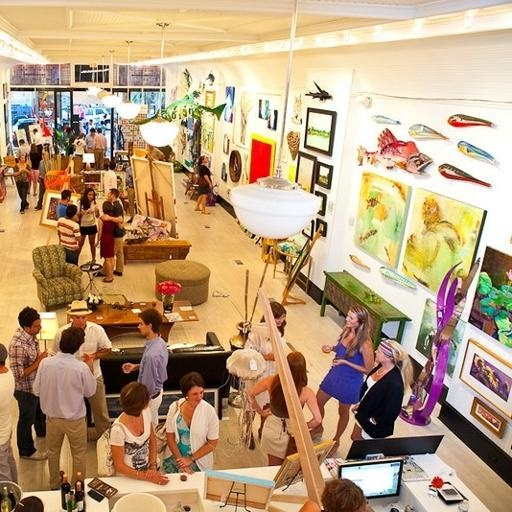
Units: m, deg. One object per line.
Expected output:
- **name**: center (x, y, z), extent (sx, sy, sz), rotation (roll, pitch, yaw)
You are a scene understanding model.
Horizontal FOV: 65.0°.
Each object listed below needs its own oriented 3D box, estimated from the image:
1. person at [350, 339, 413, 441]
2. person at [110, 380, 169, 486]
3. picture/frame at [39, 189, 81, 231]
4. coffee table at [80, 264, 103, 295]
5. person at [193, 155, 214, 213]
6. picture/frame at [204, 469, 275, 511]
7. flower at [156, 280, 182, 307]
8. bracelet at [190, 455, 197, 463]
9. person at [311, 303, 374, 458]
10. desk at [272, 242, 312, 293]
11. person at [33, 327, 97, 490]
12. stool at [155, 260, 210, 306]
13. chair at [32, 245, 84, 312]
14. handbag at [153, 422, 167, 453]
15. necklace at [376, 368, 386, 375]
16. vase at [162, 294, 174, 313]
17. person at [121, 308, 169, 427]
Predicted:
- **person**: center (1.301, 1.428, 4.215), extent (0.388, 1.219, 0.465), rotation (12, 55, -4)
- **person**: center (-0.866, 1.347, 2.904), extent (0.370, 0.814, 0.511), rotation (-3, 14, -22)
- **picture/frame**: center (-4.875, -1.071, 9.469), extent (0.464, 0.804, 0.604), rotation (-2, 14, -17)
- **coffee table**: center (-3.516, 0.538, 8.545), extent (0.309, 0.457, 0.364), rotation (-9, 29, -24)
- **person**: center (-1.976, -2.611, 15.217), extent (0.701, 3.037, 1.009), rotation (-8, 32, -21)
- **picture/frame**: center (-0.089, 1.344, 2.407), extent (0.455, 0.269, 0.479), rotation (8, -28, -1)
- **flower**: center (-1.544, 0.708, 6.899), extent (0.449, 0.564, 0.479), rotation (3, 12, -1)
- **bracelet**: center (-0.497, 1.627, 3.210), extent (0.042, 0.050, 0.014), rotation (11, -6, 36)
- **person**: center (1.015, 1.531, 4.750), extent (0.552, 2.034, 0.559), rotation (18, 23, 28)
- **desk**: center (0.886, 0.132, 9.190), extent (0.795, 1.048, 0.903), rotation (-13, 38, -19)
- **person**: center (-1.660, 1.364, 3.486), extent (0.469, 1.530, 0.266), rotation (3, 12, 2)
- **stool**: center (-1.571, 0.625, 8.621), extent (1.028, 0.739, 1.163), rotation (1, 17, -7)
- **chair**: center (-3.813, 0.434, 7.690), extent (0.806, 1.161, 0.917), rotation (-7, 14, -36)
- **handbag**: center (-0.919, 1.735, 3.861), extent (0.075, 0.271, 0.182), rotation (3, 0, -29)
- **necklace**: center (1.282, 1.200, 4.102), extent (0.047, 0.076, 0.027), rotation (-8, -37, 35)
- **vase**: center (-1.530, 0.849, 6.955), extent (0.212, 0.406, 0.225), rotation (5, 9, -3)
- **person**: center (-1.165, 1.405, 4.235), extent (0.427, 1.754, 0.460), rotation (1, 19, -11)
